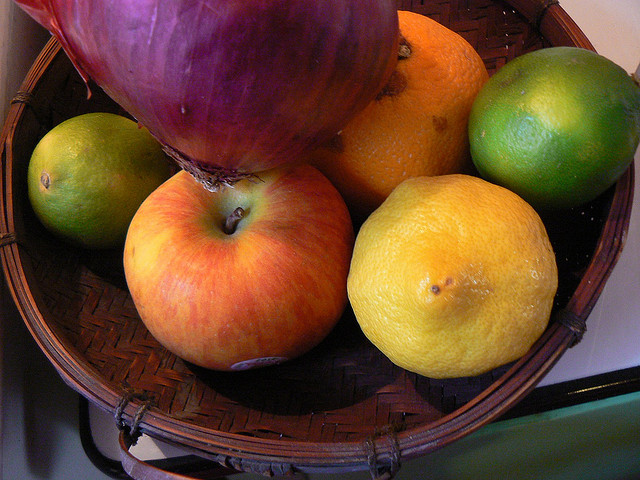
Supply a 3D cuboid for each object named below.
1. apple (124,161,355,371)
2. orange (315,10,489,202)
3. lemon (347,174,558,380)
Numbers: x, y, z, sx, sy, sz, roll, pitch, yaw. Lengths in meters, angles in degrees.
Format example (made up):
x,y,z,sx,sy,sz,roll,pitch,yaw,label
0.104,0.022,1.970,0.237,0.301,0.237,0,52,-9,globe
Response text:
x,y,z,sx,sy,sz,roll,pitch,yaw,label
-0.110,0.038,0.808,0.291,0.226,0.294,-10,51,-15,apple
0.114,-0.167,0.861,0.223,0.229,0.240,-2,84,6,orange
0.143,0.036,0.635,0.218,0.153,0.235,-6,82,10,lemon
